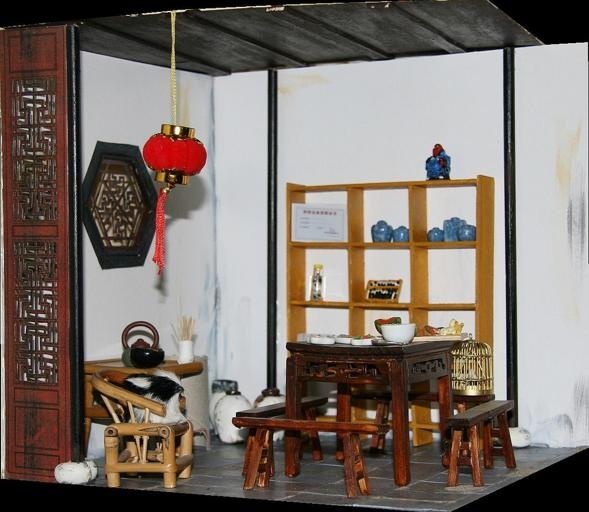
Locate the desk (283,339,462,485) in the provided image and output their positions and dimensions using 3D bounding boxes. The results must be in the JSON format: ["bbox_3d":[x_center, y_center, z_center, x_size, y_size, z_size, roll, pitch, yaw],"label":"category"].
[{"bbox_3d":[0.541,0.950,7.281,0.929,0.943,0.943,-1,-4,28],"label":"desk"}]

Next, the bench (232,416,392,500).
[{"bbox_3d":[0.123,1.239,6.877,1.037,0.478,0.480,-3,-5,16],"label":"bench"}]

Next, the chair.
[{"bbox_3d":[-1.004,1.096,7.055,0.664,0.730,0.672,-1,-3,7],"label":"chair"}]

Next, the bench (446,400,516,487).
[{"bbox_3d":[1.207,1.213,7.100,0.229,0.421,0.717,-5,-2,30],"label":"bench"}]

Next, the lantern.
[{"bbox_3d":[-0.789,-0.411,7.290,0.405,0.957,0.366,-2,-4,13],"label":"lantern"}]

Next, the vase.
[{"bbox_3d":[-0.398,1.220,8.482,0.517,0.357,0.391,2,-6,5],"label":"vase"}]

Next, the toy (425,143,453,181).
[{"bbox_3d":[1.067,-0.699,8.169,0.257,0.356,0.237,-1,3,1],"label":"toy"}]
